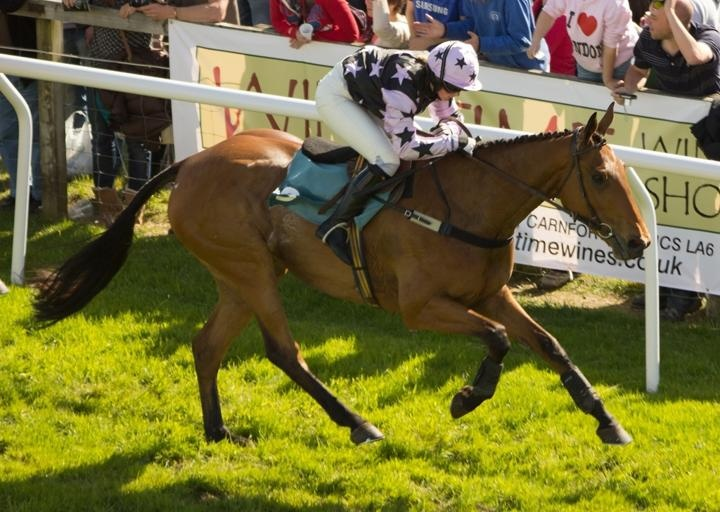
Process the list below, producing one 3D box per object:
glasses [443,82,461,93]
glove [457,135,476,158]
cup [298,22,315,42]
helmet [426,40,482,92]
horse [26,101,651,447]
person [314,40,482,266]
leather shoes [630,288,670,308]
[{"bbox_3d":[0.537,-0.982,6.525,0.078,0.028,0.061,42,24,30],"label":"glasses"},{"bbox_3d":[0.631,-0.657,6.714,0.093,0.122,0.057,-1,-13,-19],"label":"glove"},{"bbox_3d":[-0.429,-1.789,8.977,0.129,0.130,0.138,2,-25,1],"label":"cup"},{"bbox_3d":[0.575,-1.125,6.546,0.327,0.195,0.245,33,26,13],"label":"helmet"},{"bbox_3d":[-0.250,0.265,7.109,4.094,2.100,0.866,3,3,18],"label":"horse"},{"bbox_3d":[0.187,-0.719,6.930,1.022,1.488,0.642,24,26,24],"label":"person"},{"bbox_3d":[2.348,0.352,9.025,0.206,0.193,0.068,3,-2,39],"label":"leather shoes"}]
